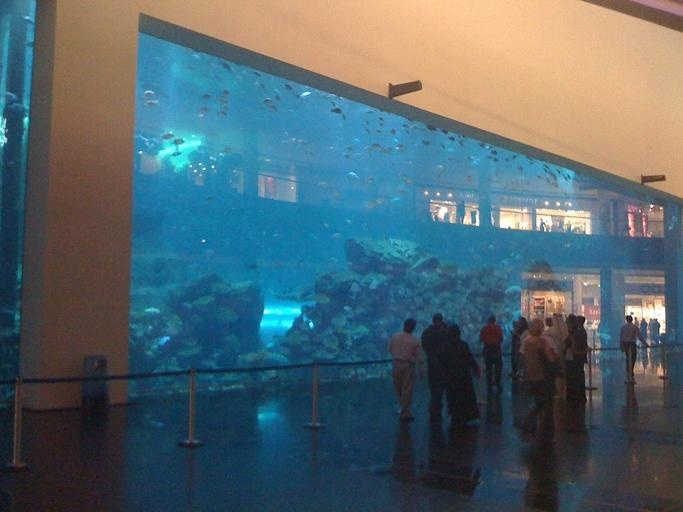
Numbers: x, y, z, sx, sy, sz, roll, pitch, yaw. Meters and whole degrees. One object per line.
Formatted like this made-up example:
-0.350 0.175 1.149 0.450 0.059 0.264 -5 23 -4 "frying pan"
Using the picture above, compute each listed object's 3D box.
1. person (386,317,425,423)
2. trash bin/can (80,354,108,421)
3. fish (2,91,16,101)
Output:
1.372 2.347 14.222 0.769 1.856 0.790 -1 -1 36 "person"
-4.673 2.493 13.542 0.500 1.184 0.431 -4 -7 7 "trash bin/can"
-7.716 -3.733 16.184 0.231 0.113 0.296 -7 16 -41 "fish"
